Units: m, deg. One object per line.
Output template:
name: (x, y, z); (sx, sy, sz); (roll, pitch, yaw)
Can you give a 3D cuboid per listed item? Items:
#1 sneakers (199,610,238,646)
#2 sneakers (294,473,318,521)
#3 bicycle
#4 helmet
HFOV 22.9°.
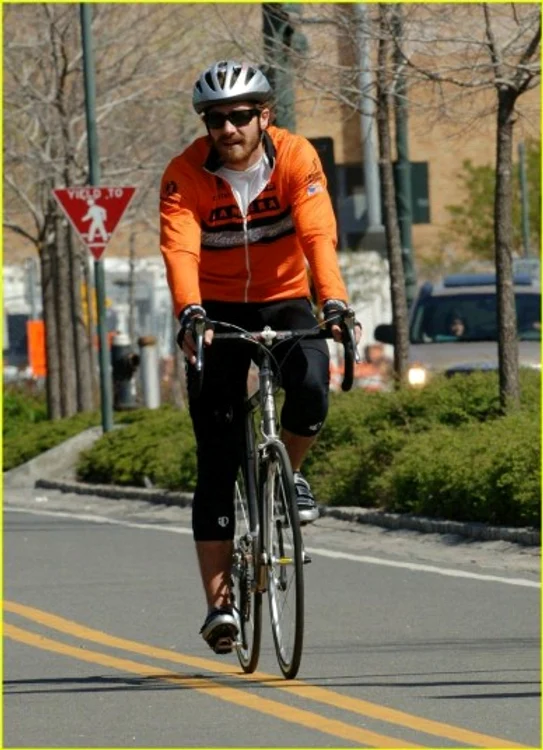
sneakers: (-0.205, 0.990, 5.196); (0.151, 0.154, 0.154); (-3, 2, -3)
sneakers: (0.131, 0.484, 5.028); (0.062, 0.088, 0.205); (-3, -15, 2)
bicycle: (0.013, 0.500, 5.227); (0.619, 1.512, 1.039); (-3, 2, -3)
helmet: (-0.161, -1.124, 5.155); (0.299, 0.203, 0.212); (-3, 2, -3)
